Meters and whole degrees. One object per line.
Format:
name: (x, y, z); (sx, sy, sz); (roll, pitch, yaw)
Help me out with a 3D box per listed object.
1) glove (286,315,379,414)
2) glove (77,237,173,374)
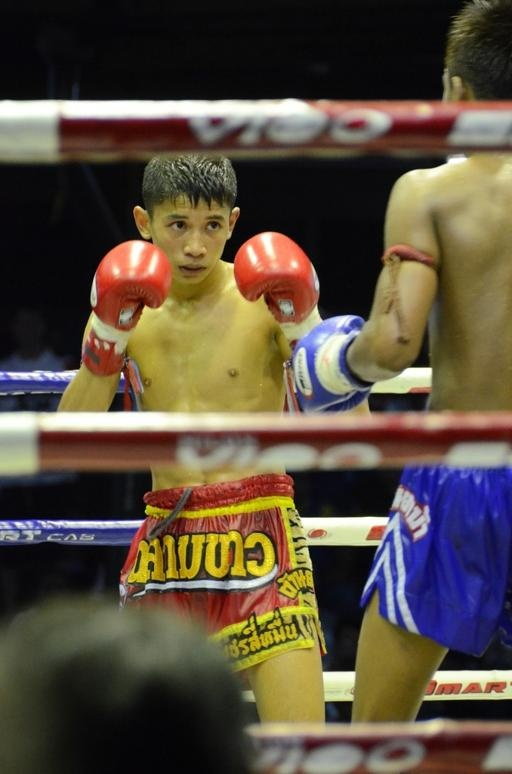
glove: (0.107, -0.034, 1.137); (0.109, 0.131, 0.148); (4, 41, 2)
glove: (-0.240, -0.139, 1.444); (0.170, 0.219, 0.142); (-5, 42, -8)
